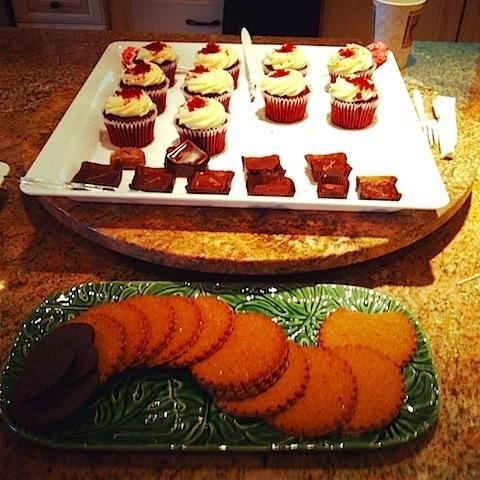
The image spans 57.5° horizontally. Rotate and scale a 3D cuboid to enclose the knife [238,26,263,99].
[{"bbox_3d":[0.039,-0.735,1.829,0.062,0.046,0.398,-4,49,-6],"label":"knife"}]
